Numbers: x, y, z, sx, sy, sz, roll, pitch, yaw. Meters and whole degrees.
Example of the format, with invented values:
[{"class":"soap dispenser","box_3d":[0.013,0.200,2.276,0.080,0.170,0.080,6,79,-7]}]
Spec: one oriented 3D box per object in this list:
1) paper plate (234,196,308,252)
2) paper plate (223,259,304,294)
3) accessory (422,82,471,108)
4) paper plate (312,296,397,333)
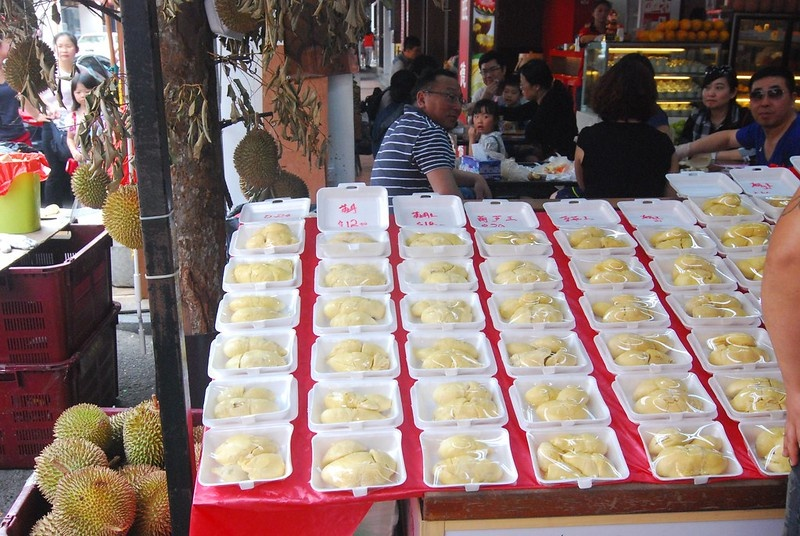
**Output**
[{"class":"paper plate","box_3d":[-0.574,-0.190,2.595,0.230,0.058,0.299,-1,42,0]},{"class":"paper plate","box_3d":[-0.572,0.015,2.374,0.291,0.053,0.195,-1,42,-8]},{"class":"accessory","box_3d":[0.267,-0.994,3.282,0.189,0.137,0.153,23,9,34]},{"class":"paper plate","box_3d":[-0.178,0.182,2.257,0.245,0.057,0.164,-1,48,-3]}]
